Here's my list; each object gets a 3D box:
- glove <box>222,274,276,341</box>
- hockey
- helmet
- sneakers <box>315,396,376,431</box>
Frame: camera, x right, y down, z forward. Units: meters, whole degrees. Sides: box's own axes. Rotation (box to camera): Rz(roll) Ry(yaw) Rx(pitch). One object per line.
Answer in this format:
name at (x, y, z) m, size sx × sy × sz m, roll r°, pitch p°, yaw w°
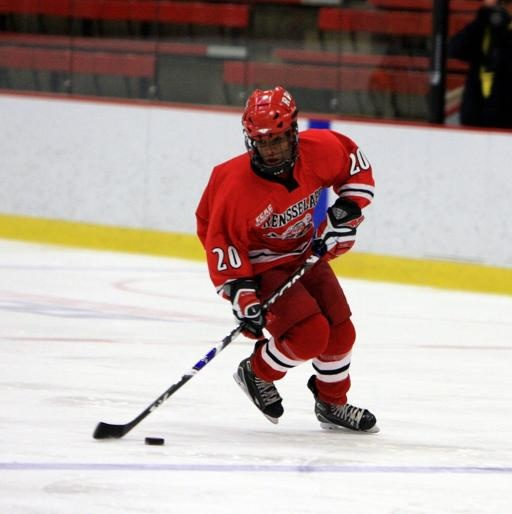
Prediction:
glove at (0.001, 0.165, 2.795) m, size 0.142 × 0.206 × 0.091 m, roll -27°, pitch 18°, yaw 37°
hockey at (-0.174, 0.346, 3.076) m, size 1.071 × 0.109 × 0.143 m, roll -26°, pitch -13°, yaw -16°
helmet at (0.051, -0.397, 2.712) m, size 0.188 × 0.278 × 0.211 m, roll 6°, pitch 13°, yaw 9°
sneakers at (0.305, 0.521, 2.809) m, size 0.222 × 0.084 × 0.073 m, roll 0°, pitch 12°, yaw 28°
